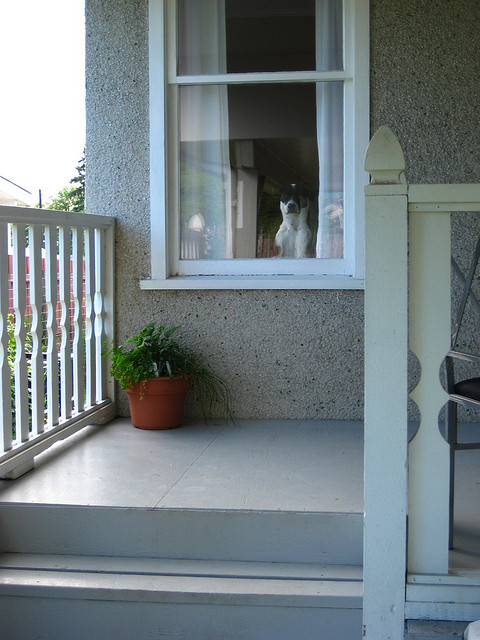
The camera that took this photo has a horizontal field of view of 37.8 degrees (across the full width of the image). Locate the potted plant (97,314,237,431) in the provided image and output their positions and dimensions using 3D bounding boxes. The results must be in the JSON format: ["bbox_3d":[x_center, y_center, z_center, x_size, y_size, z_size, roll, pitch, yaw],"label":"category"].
[{"bbox_3d":[-0.371,0.263,3.107,0.425,0.413,0.602,-3,2,-43],"label":"potted plant"}]

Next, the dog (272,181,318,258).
[{"bbox_3d":[0.248,-0.446,3.171,0.187,0.339,0.352,3,-17,4],"label":"dog"}]
